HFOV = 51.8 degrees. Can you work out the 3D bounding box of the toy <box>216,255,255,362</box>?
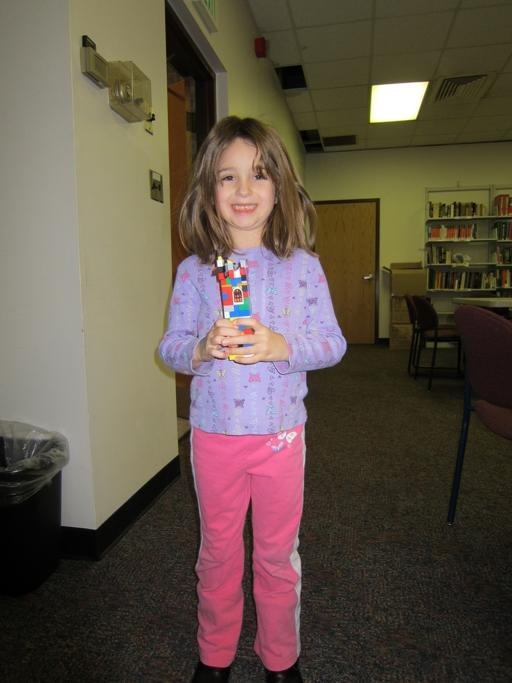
[{"bbox_3d":[-0.041,-0.066,0.951,0.066,0.178,0.178,0,5,-4],"label":"toy"}]
